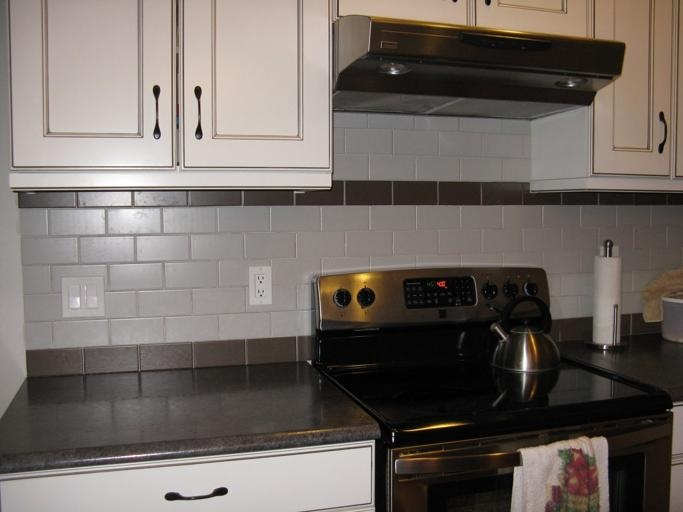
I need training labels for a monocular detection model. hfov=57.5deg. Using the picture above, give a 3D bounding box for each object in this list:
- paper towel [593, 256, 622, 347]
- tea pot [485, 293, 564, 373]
[{"bbox_3d":[1.081,0.171,2.523,0.103,0.393,0.111,6,-6,-21],"label":"paper towel"},{"bbox_3d":[0.649,0.260,2.275,0.233,0.302,0.223,0,0,0],"label":"tea pot"}]
